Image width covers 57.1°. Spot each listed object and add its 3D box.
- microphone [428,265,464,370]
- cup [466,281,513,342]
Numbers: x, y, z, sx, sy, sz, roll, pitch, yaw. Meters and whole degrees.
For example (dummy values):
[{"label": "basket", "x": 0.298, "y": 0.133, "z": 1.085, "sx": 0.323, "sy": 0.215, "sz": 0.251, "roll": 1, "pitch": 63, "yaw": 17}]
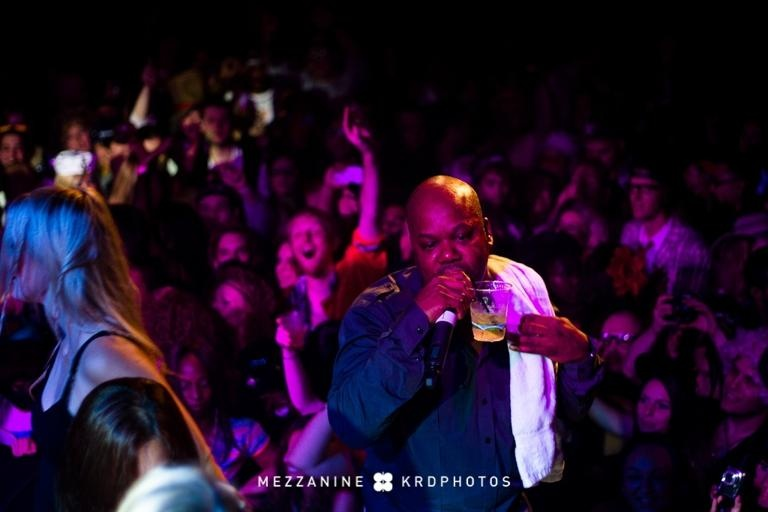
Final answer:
[{"label": "microphone", "x": 0.260, "y": 0.328, "z": 2.988, "sx": 0.080, "sy": 0.328, "sz": 0.081, "roll": 31, "pitch": -36, "yaw": -22}, {"label": "cup", "x": 0.461, "y": 0.238, "z": 3.082, "sx": 0.233, "sy": 0.251, "sz": 0.239, "roll": 1, "pitch": -7, "yaw": 0}]
